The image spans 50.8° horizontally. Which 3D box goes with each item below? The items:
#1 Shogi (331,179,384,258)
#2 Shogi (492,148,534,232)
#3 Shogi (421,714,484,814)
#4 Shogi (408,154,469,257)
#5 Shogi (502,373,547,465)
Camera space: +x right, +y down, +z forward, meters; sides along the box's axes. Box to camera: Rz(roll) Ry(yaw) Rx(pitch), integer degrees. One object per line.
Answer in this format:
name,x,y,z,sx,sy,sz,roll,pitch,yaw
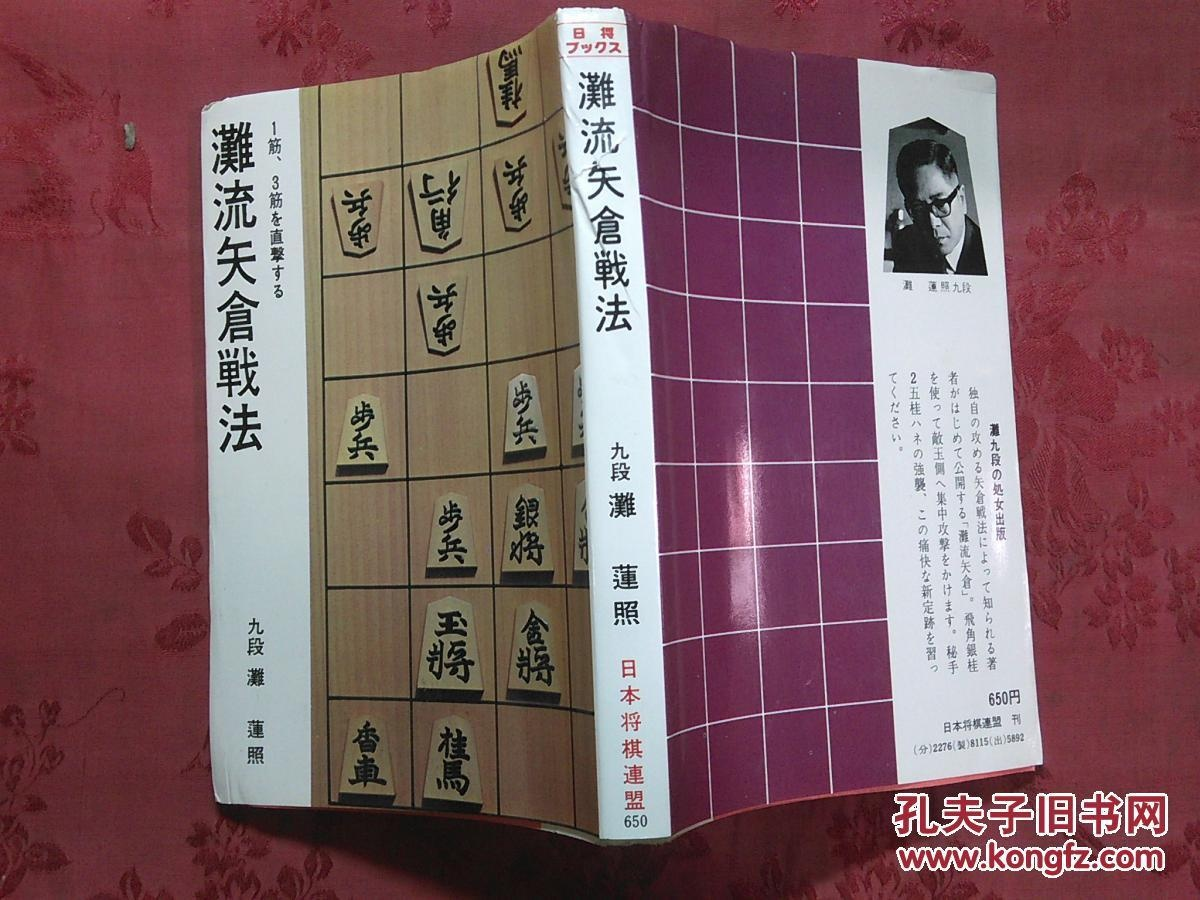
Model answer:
Shogi,-0.427,-0.410,2.251,0.117,0.161,0.020,-2,0,16
Shogi,-0.149,-0.442,2.177,0.072,0.128,0.018,0,6,29
Shogi,-0.248,0.544,2.178,0.141,0.222,0.066,0,-12,0
Shogi,-0.278,-0.427,2.220,0.149,0.211,0.026,-3,-1,17
Shogi,-0.135,-0.052,2.123,0.073,0.147,0.032,-2,-4,16
